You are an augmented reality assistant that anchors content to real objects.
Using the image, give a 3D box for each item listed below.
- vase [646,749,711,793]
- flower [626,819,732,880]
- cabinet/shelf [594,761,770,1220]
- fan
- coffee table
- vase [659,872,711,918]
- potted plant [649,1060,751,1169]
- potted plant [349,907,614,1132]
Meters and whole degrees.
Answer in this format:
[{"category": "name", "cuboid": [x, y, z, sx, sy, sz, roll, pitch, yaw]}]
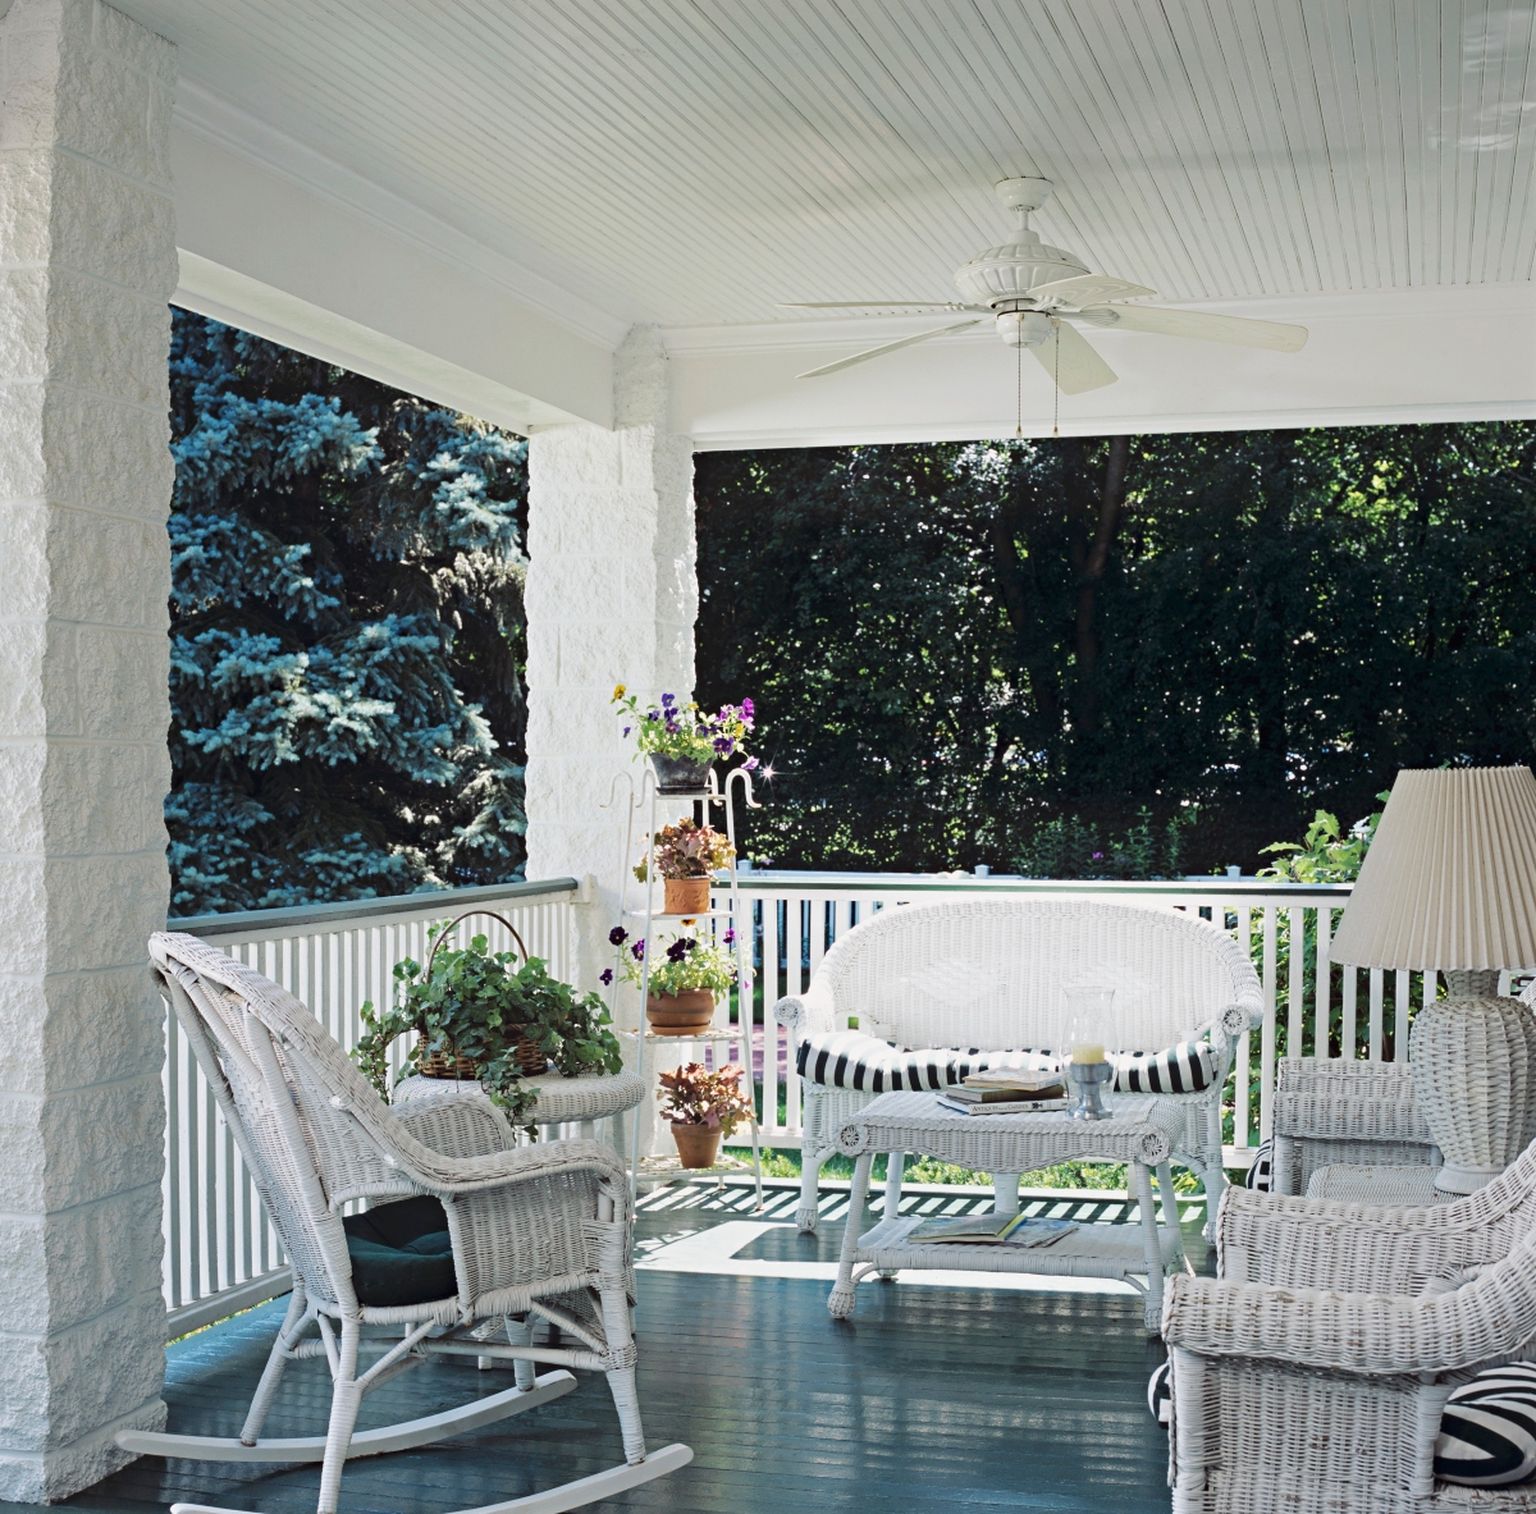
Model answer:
[{"category": "vase", "cuboid": [-0.307, 0.071, 6.037, 0.232, 0.132, 0.138, 1, -3, -19]}, {"category": "flower", "cuboid": [-0.295, 0.336, 5.992, 0.224, 0.158, 0.229, -3, -3, -3]}, {"category": "cabinet/shelf", "cuboid": [-0.316, 0.809, 6.139, 0.543, 1.548, 0.475, 4, 0, 32]}, {"category": "fan", "cuboid": [0.743, -1.277, 4.587, 1.382, 0.588, 1.233, 10, 24, 32]}, {"category": "coffee table", "cuboid": [0.709, 1.188, 4.551, 0.966, 0.512, 0.622, 1, 1, 16]}, {"category": "vase", "cuboid": [-0.296, 0.491, 5.847, 0.151, 0.105, 0.146, 0, -7, 2]}, {"category": "potted plant", "cuboid": [-0.241, 1.278, 5.928, 0.373, 0.353, 0.328, 0, -8, -1]}, {"category": "potted plant", "cuboid": [-0.716, 0.697, 4.353, 0.566, 0.459, 0.668, -9, -15, 42]}]
